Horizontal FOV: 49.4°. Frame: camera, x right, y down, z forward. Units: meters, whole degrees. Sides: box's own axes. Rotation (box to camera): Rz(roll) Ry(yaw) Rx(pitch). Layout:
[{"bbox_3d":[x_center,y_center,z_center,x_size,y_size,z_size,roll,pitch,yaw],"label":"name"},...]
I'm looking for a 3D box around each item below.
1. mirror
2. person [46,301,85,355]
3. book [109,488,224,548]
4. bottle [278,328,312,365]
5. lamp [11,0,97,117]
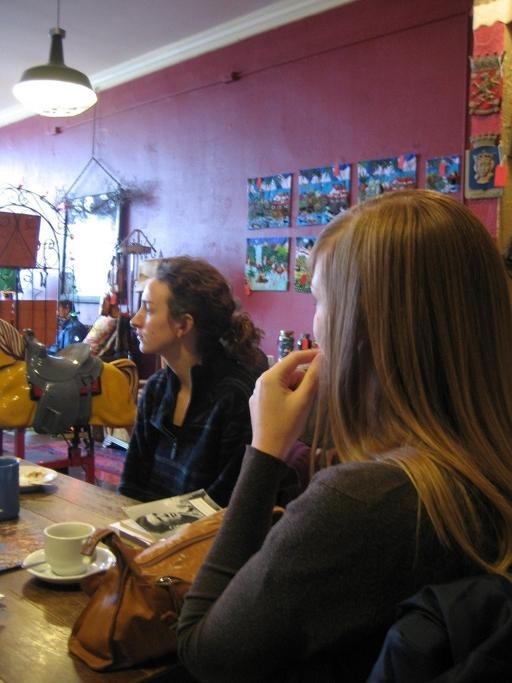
[{"bbox_3d":[-1.858,-1.108,6.361,0.073,1.506,1.343,7,1,-43],"label":"mirror"},{"bbox_3d":[-1.899,-0.172,5.608,0.342,0.462,0.987,-1,6,-20],"label":"person"},{"bbox_3d":[-0.208,0.406,1.285,0.170,0.045,0.158,-2,12,-38],"label":"book"},{"bbox_3d":[0.255,0.038,3.854,0.276,0.269,0.186,0,4,-10],"label":"bottle"},{"bbox_3d":[-1.301,-1.740,3.633,0.487,0.350,0.687,0,6,-15],"label":"lamp"}]
